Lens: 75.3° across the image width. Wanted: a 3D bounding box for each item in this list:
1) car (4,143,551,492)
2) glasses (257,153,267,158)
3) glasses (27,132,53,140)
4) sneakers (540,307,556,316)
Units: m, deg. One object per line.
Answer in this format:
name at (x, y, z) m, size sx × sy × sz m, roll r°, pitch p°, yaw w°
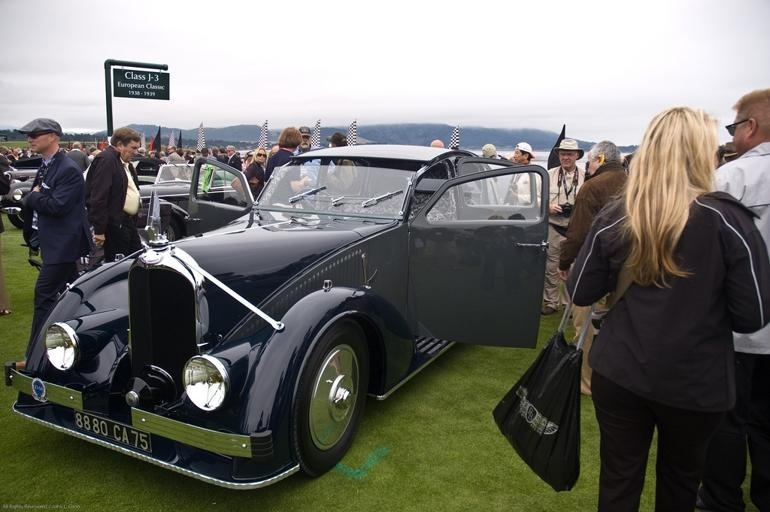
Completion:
car at (-0.298, 0.383, 4.616) m, size 2.551 × 1.404 × 4.180 m, roll 6°, pitch 9°, yaw 37°
glasses at (-2.183, -1.795, 8.815) m, size 0.136 × 0.066 × 0.153 m, roll -2°, pitch -2°, yaw -38°
glasses at (-3.314, -1.161, 4.791) m, size 0.113 × 0.043 × 0.125 m, roll -5°, pitch 5°, yaw -24°
sneakers at (2.237, 0.737, 6.780) m, size 0.127 × 0.135 × 0.338 m, roll -6°, pitch -6°, yaw 37°
